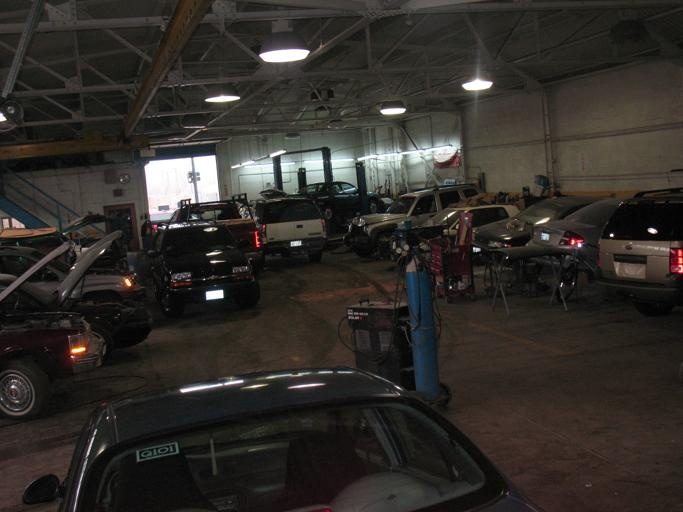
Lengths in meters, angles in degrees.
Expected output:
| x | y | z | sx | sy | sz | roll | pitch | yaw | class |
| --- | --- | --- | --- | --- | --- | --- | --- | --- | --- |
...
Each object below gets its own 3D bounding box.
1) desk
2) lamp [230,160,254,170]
| x | y | z | sx | sy | sz | roll | pitch | yaw | class |
| --- | --- | --- | --- | --- | --- | --- | --- | --- | --- |
| 3.545 | 0.288 | 11.322 | 2.286 | 1.346 | 0.933 | 1 | -2 | -10 | desk |
| -6.065 | -5.792 | 35.164 | 1.345 | 0.487 | 2.064 | -8 | 9 | -20 | lamp |
